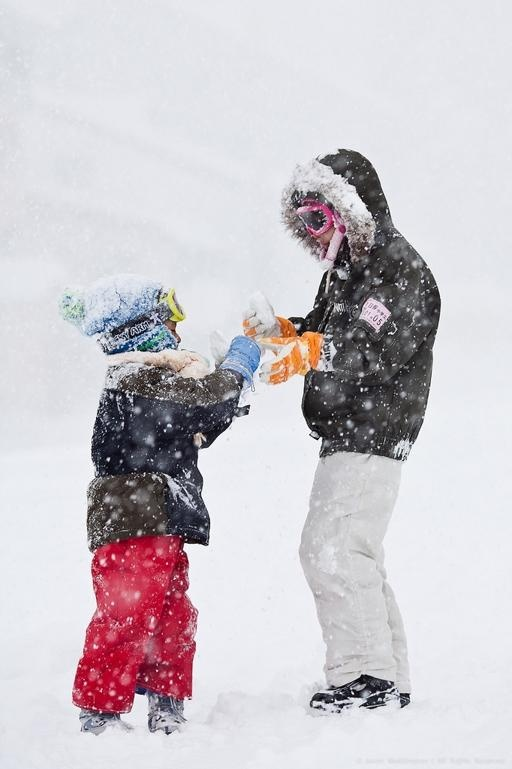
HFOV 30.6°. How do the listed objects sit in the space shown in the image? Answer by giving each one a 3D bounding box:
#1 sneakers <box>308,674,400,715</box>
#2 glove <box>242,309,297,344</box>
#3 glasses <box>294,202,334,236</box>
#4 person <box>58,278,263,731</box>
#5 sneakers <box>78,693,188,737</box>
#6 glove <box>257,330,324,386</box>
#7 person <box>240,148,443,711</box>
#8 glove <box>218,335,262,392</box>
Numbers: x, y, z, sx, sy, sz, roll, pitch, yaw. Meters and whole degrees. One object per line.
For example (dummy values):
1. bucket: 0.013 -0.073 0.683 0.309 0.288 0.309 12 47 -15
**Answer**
1. sneakers: 0.340 1.054 3.153 0.370 0.130 0.114 -1 -13 1
2. glove: 0.037 -0.206 3.490 0.099 0.112 0.309 13 -8 25
3. glasses: 0.216 -0.602 3.368 0.106 0.063 0.143 15 14 36
4. person: -0.308 0.375 3.098 0.625 1.472 0.355 -2 -7 -10
5. sneakers: -0.377 1.028 2.931 0.237 0.098 0.134 -1 -2 1
6. glove: 0.131 -0.095 3.333 0.269 0.193 0.099 3 -9 -42
7. person: 0.327 0.156 3.399 0.663 2.006 0.586 -7 -8 28
8. glove: -0.054 -0.108 3.236 0.131 0.155 0.105 -6 -28 16
